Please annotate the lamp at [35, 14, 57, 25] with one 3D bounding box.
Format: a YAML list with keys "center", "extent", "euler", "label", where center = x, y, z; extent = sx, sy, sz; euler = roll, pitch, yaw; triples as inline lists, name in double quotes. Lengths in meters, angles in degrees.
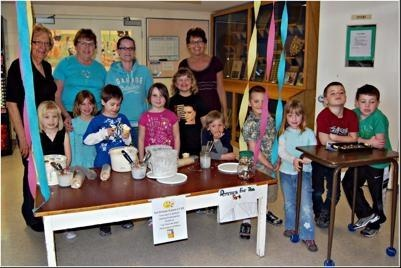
- center: [-3.074, -2.258, 6.043]
  extent: [0.378, 0.200, 0.107]
  euler: [-7, 13, -22]
  label: "lamp"

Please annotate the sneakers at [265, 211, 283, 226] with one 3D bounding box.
- center: [0.816, 0.940, 3.473]
  extent: [0.263, 0.094, 0.103]
  euler: [9, 18, 33]
  label: "sneakers"

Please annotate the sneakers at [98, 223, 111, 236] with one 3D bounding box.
- center: [-1.027, 1.025, 3.247]
  extent: [0.103, 0.095, 0.119]
  euler: [11, -20, -41]
  label: "sneakers"

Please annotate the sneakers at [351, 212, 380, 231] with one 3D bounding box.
- center: [1.765, 0.924, 3.299]
  extent: [0.335, 0.125, 0.109]
  euler: [-26, 13, 17]
  label: "sneakers"

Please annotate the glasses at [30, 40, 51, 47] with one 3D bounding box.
- center: [-1.621, -0.911, 3.107]
  extent: [0.188, 0.052, 0.086]
  euler: [-9, 12, -32]
  label: "glasses"

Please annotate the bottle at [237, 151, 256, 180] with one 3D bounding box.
- center: [0.379, 0.275, 2.674]
  extent: [0.193, 0.232, 0.186]
  euler: [3, 8, 0]
  label: "bottle"

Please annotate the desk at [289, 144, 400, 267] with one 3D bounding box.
- center: [1.432, 0.642, 2.885]
  extent: [0.885, 1.060, 0.508]
  euler: [-6, 12, -16]
  label: "desk"

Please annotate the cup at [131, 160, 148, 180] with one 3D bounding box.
- center: [-0.517, 0.306, 2.607]
  extent: [0.141, 0.133, 0.142]
  euler: [0, 2, 0]
  label: "cup"

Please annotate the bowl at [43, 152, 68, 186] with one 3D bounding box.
- center: [-1.183, 0.279, 2.441]
  extent: [0.239, 0.204, 0.227]
  euler: [6, 5, -1]
  label: "bowl"

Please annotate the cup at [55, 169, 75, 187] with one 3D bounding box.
- center: [-1.073, 0.345, 2.411]
  extent: [0.130, 0.109, 0.122]
  euler: [2, 10, 0]
  label: "cup"
